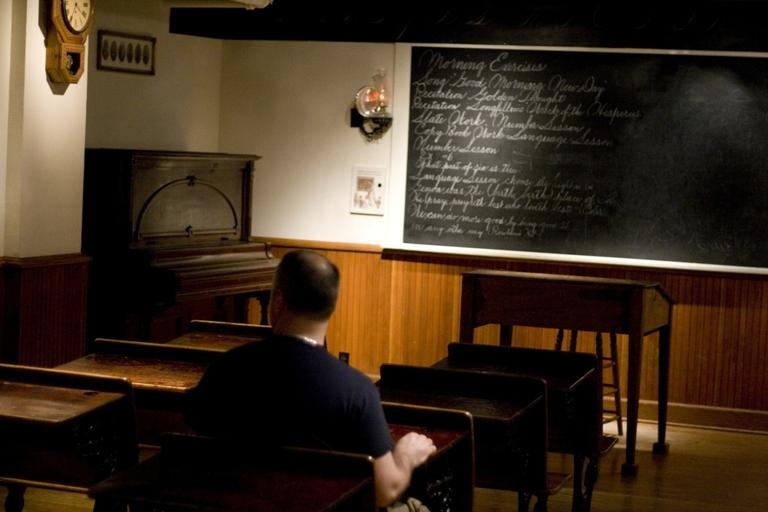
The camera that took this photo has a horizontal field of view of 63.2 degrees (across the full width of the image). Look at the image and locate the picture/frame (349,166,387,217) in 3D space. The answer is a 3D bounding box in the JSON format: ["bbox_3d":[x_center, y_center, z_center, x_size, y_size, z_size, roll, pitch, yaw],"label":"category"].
[{"bbox_3d":[-0.139,-0.620,5.959,0.457,0.606,0.044,2,0,7],"label":"picture/frame"}]

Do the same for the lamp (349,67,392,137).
[{"bbox_3d":[-0.123,-1.430,5.889,0.408,0.668,0.161,2,5,-2],"label":"lamp"}]
